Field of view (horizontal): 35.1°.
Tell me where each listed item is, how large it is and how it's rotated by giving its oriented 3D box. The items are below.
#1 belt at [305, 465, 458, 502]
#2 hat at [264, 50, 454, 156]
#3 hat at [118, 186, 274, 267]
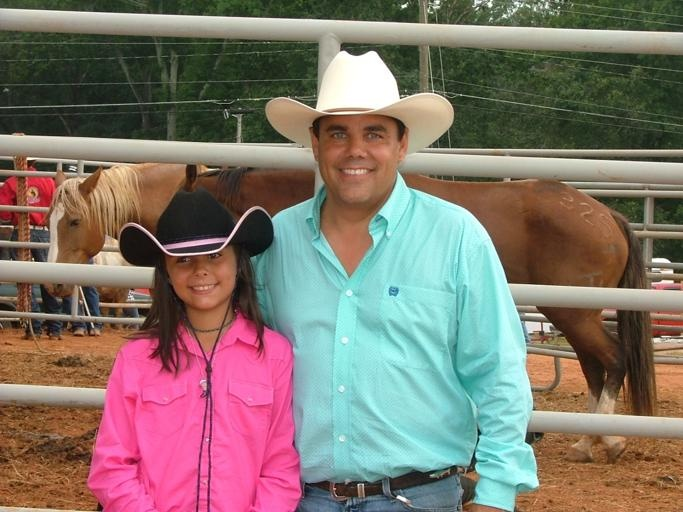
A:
[{"bbox_3d":[0.243,1.297,6.152,0.455,0.085,0.288,-9,-3,-8],"label":"belt"},{"bbox_3d":[0.143,-0.904,6.310,0.851,0.282,0.765,-1,-13,10],"label":"hat"},{"bbox_3d":[-0.884,-0.189,6.468,0.788,0.266,0.717,-5,9,-5],"label":"hat"}]
